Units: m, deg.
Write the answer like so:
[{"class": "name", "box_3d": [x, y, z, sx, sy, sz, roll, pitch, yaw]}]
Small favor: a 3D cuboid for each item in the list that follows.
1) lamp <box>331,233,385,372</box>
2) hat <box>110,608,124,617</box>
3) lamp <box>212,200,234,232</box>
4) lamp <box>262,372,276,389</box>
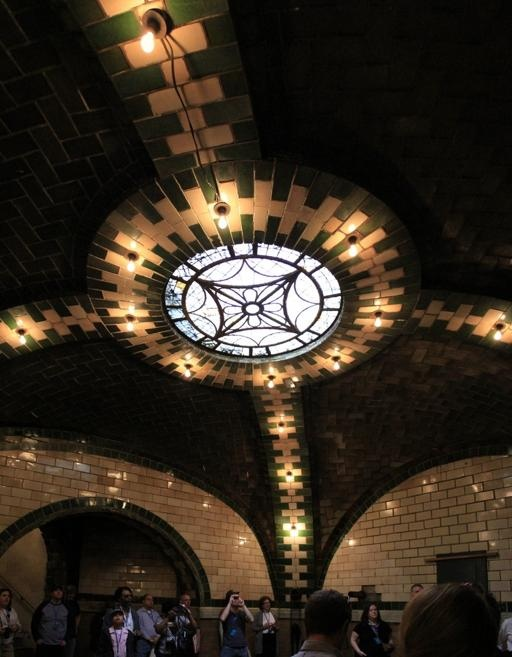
[{"class": "lamp", "box_3d": [1.251, -0.196, 7.935, 0.439, 0.599, 2.358, 11, -60, 8]}, {"class": "hat", "box_3d": [-1.597, 3.275, 7.061, 0.120, 0.048, 0.159, 3, 8, -19]}, {"class": "lamp", "box_3d": [-0.379, -1.295, 6.723, 0.276, 0.260, 0.248, -1, -35, -4]}, {"class": "lamp", "box_3d": [0.194, 0.922, 10.802, 0.269, 0.249, 0.270, 2, -4, -4]}]
